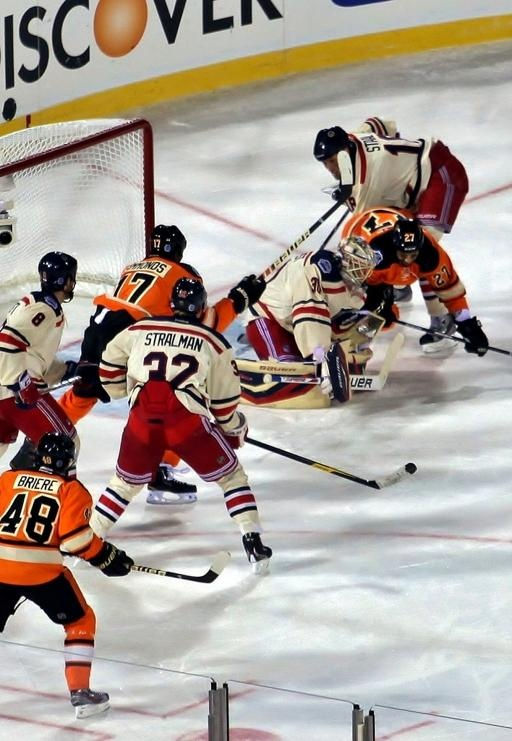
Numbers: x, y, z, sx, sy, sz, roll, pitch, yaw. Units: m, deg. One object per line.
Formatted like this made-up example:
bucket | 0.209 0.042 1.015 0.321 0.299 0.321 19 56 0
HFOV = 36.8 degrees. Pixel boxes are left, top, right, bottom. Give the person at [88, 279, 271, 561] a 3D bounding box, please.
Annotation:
person | -0.274 0.184 2.784 0.630 1.038 0.456 0 -17 -11

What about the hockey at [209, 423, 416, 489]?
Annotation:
hockey | 0.264 0.380 3.344 1.029 0.268 0.074 6 -49 13

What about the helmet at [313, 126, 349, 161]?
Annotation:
helmet | 0.418 -1.285 4.358 0.204 0.180 0.169 -11 -18 26

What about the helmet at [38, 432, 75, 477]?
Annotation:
helmet | -0.537 0.236 2.133 0.133 0.093 0.112 8 -55 -19

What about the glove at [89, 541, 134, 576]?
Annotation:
glove | -0.425 0.562 2.267 0.142 0.044 0.131 25 -26 -6

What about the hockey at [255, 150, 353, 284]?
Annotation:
hockey | 0.339 -0.869 4.741 0.408 1.159 0.067 44 -39 -8

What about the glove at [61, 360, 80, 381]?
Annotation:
glove | -0.814 0.001 3.376 0.070 0.097 0.034 4 -16 4

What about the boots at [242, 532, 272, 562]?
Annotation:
boots | 0.004 0.623 2.706 0.092 0.104 0.080 -5 -16 4

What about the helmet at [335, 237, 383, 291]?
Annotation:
helmet | 0.471 -0.512 3.661 0.245 0.199 0.192 24 17 10

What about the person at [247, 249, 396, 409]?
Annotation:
person | 0.264 -0.272 4.053 0.818 0.785 0.705 -10 16 -31

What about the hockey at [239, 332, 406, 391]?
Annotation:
hockey | 0.299 -0.031 3.949 0.590 0.169 0.361 -1 8 -5

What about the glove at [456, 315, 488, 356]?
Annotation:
glove | 1.159 -0.188 4.181 0.151 0.221 0.098 -36 -2 -1

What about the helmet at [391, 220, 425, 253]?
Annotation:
helmet | 0.737 -0.662 3.784 0.145 0.184 0.115 -8 -17 15

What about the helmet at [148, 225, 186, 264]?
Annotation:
helmet | -0.382 -0.551 3.358 0.158 0.153 0.184 16 14 14

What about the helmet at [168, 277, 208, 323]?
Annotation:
helmet | -0.231 -0.265 2.816 0.146 0.156 0.169 9 23 7
